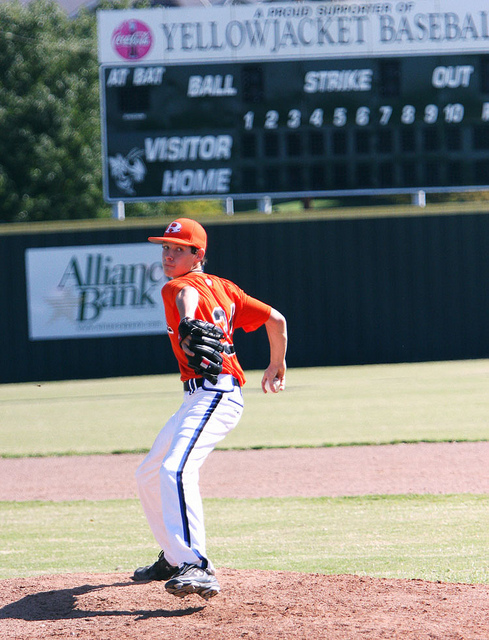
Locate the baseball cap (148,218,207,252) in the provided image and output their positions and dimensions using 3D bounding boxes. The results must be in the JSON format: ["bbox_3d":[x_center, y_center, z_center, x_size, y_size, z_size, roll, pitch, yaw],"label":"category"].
[{"bbox_3d":[-0.527,-0.681,13.115,0.373,0.208,0.245,17,-3,-18],"label":"baseball cap"}]

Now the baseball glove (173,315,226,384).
[{"bbox_3d":[-0.360,0.220,12.833,0.379,0.528,0.214,-15,0,-18],"label":"baseball glove"}]

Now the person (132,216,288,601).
[{"bbox_3d":[-0.376,0.717,13.068,1.022,2.996,1.463,2,12,17],"label":"person"}]
